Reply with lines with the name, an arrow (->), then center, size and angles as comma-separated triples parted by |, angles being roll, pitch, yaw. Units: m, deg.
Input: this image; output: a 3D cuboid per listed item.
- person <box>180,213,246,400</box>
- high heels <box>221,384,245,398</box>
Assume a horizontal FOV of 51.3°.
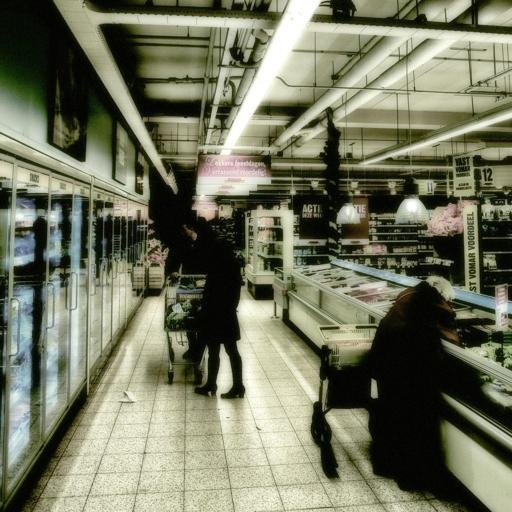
person -> -0.385, 0.564, 5.535 | 0.621, 1.763, 0.407 | 3, 9, 14
high heels -> -0.208, 1.399, 5.535 | 0.316, 0.168, 0.104 | 1, -3, -5
